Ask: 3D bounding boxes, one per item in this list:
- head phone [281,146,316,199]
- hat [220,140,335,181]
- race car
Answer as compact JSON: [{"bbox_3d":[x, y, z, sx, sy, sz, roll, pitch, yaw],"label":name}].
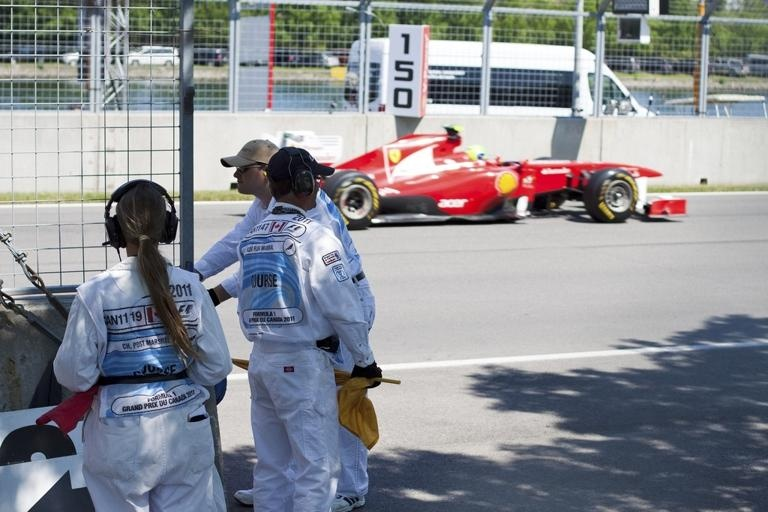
[{"bbox_3d":[-0.890,-0.852,14.755,0.205,0.417,0.470,-9,-10,-8],"label":"head phone"},{"bbox_3d":[-1.087,-1.025,14.903,0.970,0.310,0.548,4,0,-8],"label":"hat"},{"bbox_3d":[1.880,-1.389,25.165,6.338,1.285,2.395,-1,10,-10],"label":"race car"}]
